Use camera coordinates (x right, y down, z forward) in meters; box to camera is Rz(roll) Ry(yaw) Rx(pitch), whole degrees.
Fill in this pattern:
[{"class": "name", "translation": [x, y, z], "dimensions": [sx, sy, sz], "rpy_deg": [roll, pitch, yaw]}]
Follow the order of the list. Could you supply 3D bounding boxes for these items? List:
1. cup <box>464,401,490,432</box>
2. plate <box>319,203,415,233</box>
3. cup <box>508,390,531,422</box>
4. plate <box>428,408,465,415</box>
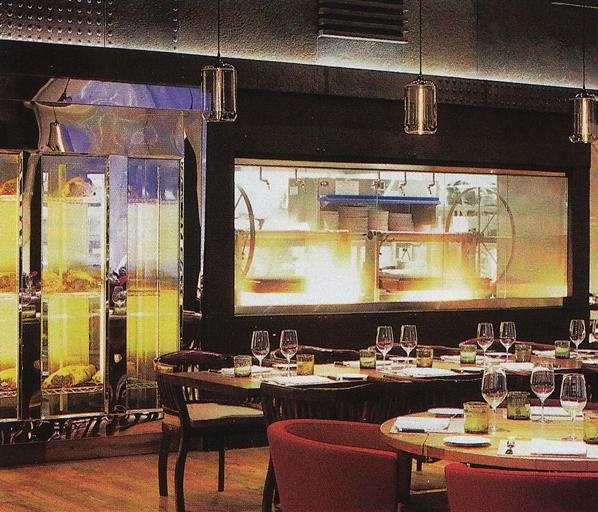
[{"class": "cup", "translation": [0.747, 0.693, 3.987], "dimensions": [0.117, 0.113, 0.110], "rpy_deg": [-1, 0, 0]}, {"class": "plate", "translation": [0.543, -0.302, 7.438], "dimensions": [0.852, 0.217, 0.038], "rpy_deg": [-2, 3, -28]}, {"class": "cup", "translation": [0.987, 0.692, 4.239], "dimensions": [0.110, 0.122, 0.111], "rpy_deg": [-1, -2, 0]}, {"class": "plate", "translation": [0.678, 0.723, 4.324], "dimensions": [0.153, 0.026, 0.150], "rpy_deg": [0, 4, -4]}]
